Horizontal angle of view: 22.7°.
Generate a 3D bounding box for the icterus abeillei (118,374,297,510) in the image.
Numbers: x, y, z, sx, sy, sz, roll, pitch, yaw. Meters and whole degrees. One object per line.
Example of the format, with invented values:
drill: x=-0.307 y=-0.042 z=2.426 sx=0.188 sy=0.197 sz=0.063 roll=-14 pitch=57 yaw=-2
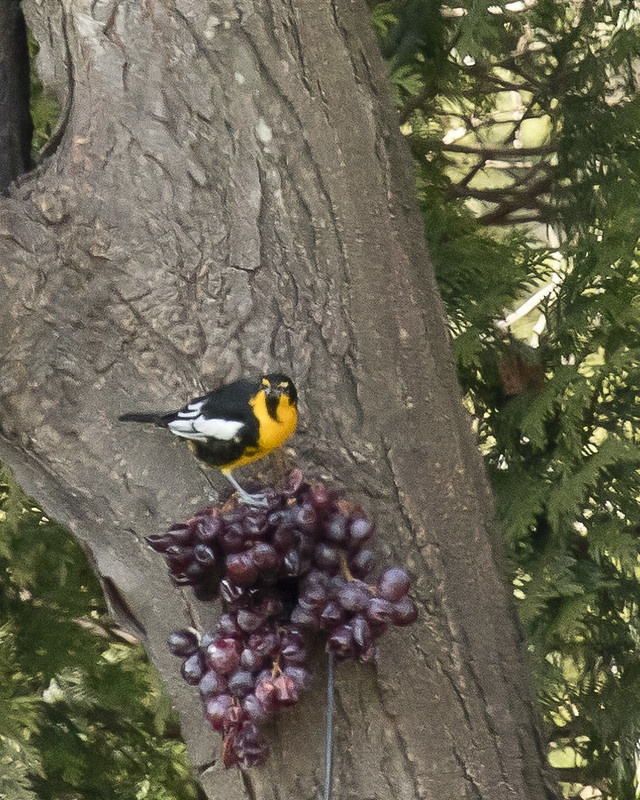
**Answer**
icterus abeillei: x=-0.231 y=0.069 z=3.520 sx=0.410 sy=0.324 sz=0.197 roll=8 pitch=23 yaw=12
